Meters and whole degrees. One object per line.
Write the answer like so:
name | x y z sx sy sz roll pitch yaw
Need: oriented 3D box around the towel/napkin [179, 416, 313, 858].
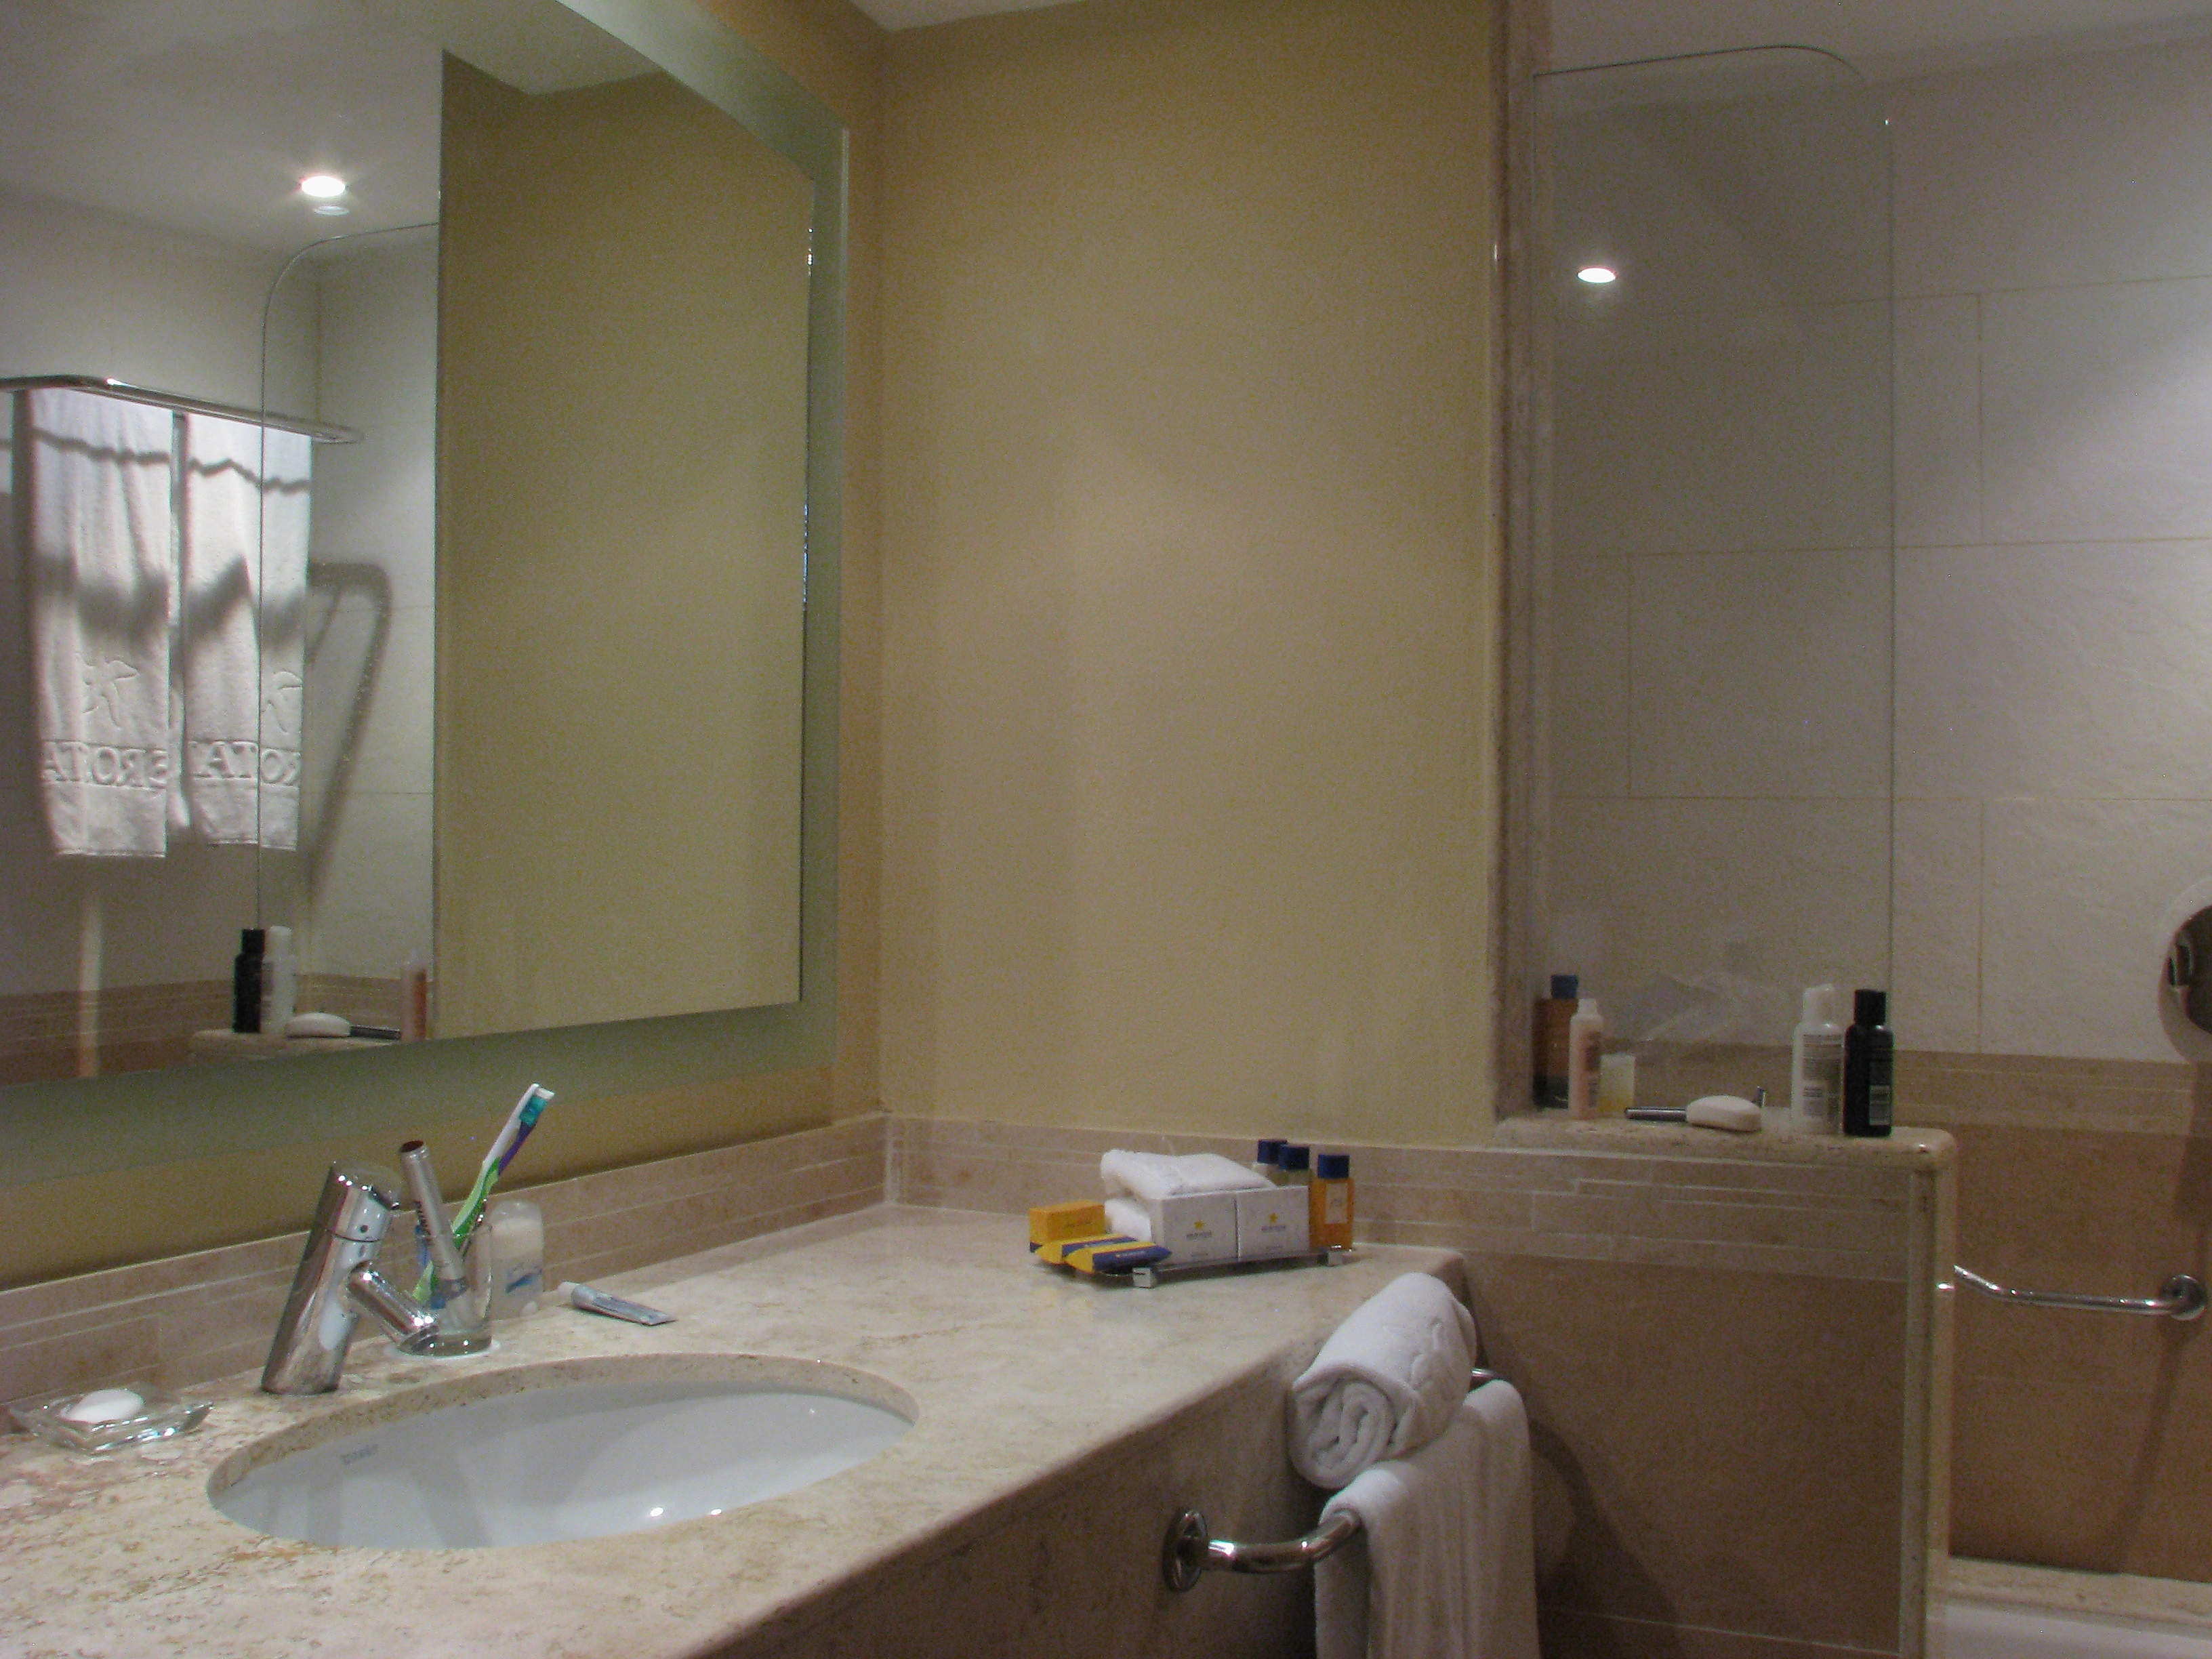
towel/napkin | -0.876 -0.198 1.733 0.036 0.432 0.146 2 4 23

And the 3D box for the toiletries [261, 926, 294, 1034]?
toiletries | -0.861 0.158 1.766 0.012 0.115 0.036 3 4 33

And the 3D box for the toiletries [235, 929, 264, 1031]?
toiletries | -0.879 0.156 1.739 0.009 0.108 0.034 3 4 31

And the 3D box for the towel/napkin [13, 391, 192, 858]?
towel/napkin | -0.956 -0.193 1.619 0.026 0.439 0.140 3 4 34

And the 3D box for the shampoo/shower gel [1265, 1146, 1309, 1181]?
shampoo/shower gel | 0.250 0.443 2.289 0.050 0.071 0.046 -2 5 -18

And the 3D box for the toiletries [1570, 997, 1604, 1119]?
toiletries | 0.672 0.327 2.356 0.063 0.148 0.029 -2 4 -37

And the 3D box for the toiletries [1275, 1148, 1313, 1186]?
toiletries | 0.249 0.445 2.243 0.052 0.064 0.047 2 -5 -24

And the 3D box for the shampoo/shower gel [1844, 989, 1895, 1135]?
shampoo/shower gel | 1.022 0.311 2.272 0.061 0.191 0.071 1 3 11

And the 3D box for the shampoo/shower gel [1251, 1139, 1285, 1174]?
shampoo/shower gel | 0.228 0.443 2.300 0.044 0.043 0.041 2 1 16

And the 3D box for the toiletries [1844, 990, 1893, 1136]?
toiletries | 1.022 0.311 2.272 0.061 0.191 0.071 1 3 11

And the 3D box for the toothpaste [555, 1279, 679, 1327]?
toothpaste | -0.578 0.548 1.959 0.190 0.026 0.061 2 3 30

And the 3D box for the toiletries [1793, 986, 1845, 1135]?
toiletries | 0.964 0.311 2.284 0.065 0.186 0.068 2 3 22

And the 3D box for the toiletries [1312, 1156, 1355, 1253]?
toiletries | 0.298 0.494 2.239 0.050 0.130 0.060 1 3 6

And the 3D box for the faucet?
faucet | -0.734 0.437 1.642 0.162 0.229 0.075 2 4 25

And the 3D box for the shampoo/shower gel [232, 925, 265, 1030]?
shampoo/shower gel | -0.879 0.155 1.739 0.010 0.111 0.035 3 4 31
